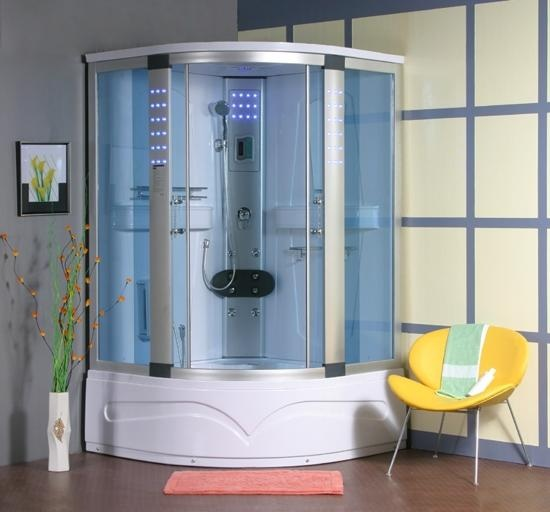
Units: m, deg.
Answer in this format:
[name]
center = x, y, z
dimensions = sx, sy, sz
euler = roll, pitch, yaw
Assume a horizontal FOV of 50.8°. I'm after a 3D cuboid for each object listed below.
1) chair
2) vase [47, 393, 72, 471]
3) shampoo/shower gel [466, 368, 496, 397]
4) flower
[chair]
center = 1.086, 0.857, 3.437
dimensions = 0.718, 0.926, 0.798
euler = 6, -8, -35
[vase]
center = -1.307, 1.051, 3.500
dimensions = 0.123, 0.478, 0.133
euler = -1, 2, -23
[shampoo/shower gel]
center = 1.226, 0.751, 3.417
dimensions = 0.233, 0.155, 0.103
euler = -1, 3, -35
[flower]
center = -1.405, 0.330, 4.144
dimensions = 0.891, 1.289, 0.845
euler = 1, -1, 26
